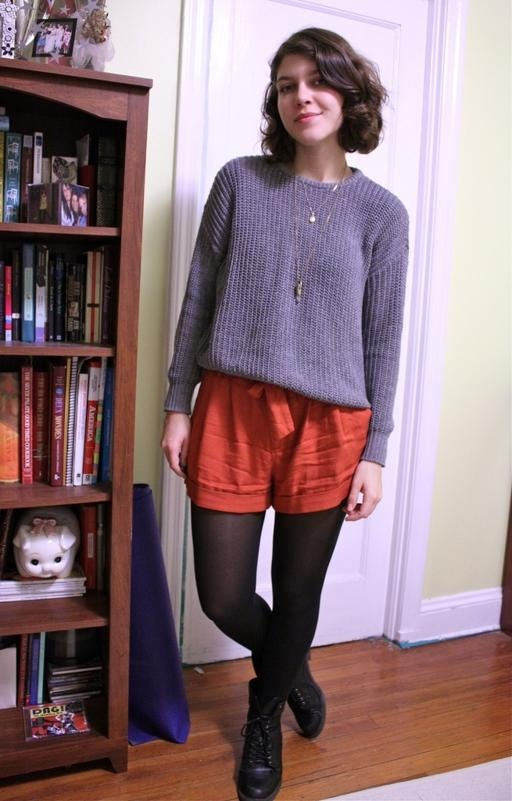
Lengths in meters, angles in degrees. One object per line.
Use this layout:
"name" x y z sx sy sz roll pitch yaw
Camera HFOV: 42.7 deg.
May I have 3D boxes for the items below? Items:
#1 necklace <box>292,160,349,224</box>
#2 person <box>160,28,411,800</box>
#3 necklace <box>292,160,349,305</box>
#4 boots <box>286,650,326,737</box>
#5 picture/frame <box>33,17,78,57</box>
"necklace" 0.117 -0.380 1.195 0.089 0.087 0.021 3 2 -8
"person" 0.038 0.057 1.320 0.428 1.474 0.261 6 7 23
"necklace" 0.106 -0.302 1.228 0.088 0.238 0.061 5 6 6
"boots" 0.115 0.689 1.570 0.068 0.195 0.079 -20 -7 35
"picture/frame" -0.378 -0.681 1.222 0.057 0.057 0.003 27 -8 -1
